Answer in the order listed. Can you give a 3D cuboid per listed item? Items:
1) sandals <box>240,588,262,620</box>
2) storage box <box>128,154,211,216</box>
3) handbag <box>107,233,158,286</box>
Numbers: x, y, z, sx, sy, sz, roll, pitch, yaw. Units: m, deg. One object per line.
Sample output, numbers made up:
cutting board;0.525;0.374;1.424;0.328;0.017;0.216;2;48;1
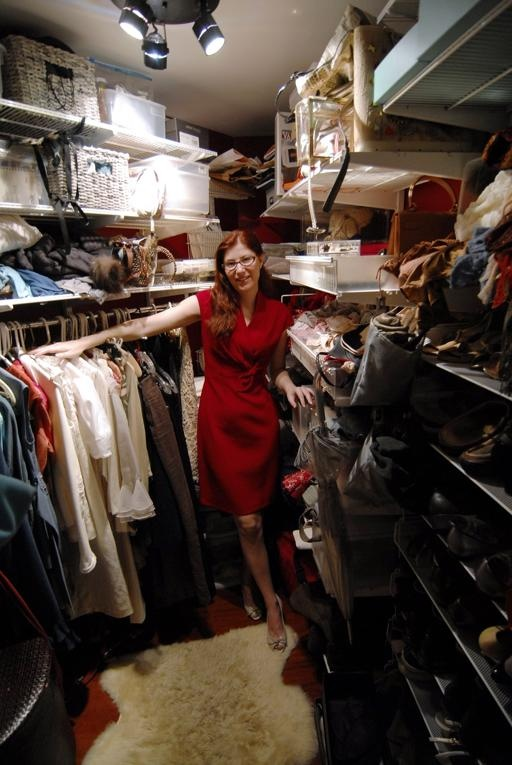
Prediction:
sandals;-0.019;0.922;2.125;0.043;0.054;0.131;-3;5;-14
storage box;-0.377;-0.866;2.293;0.341;0.224;0.352;8;12;35
handbag;-0.491;-0.472;1.937;0.177;0.193;0.193;20;22;14
